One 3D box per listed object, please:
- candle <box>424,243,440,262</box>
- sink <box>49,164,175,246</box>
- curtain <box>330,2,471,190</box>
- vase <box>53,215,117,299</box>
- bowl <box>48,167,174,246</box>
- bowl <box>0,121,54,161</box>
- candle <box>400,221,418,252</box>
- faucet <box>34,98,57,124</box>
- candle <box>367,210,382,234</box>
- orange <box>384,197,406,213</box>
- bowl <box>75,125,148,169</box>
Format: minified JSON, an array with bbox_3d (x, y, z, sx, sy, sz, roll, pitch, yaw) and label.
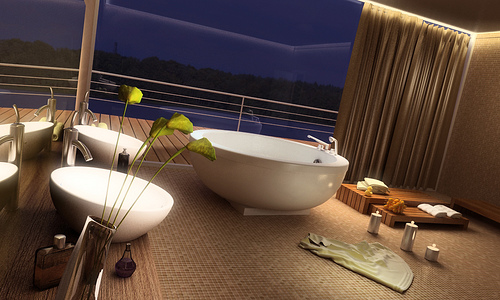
[{"bbox_3d":[2.174,1.196,3.009,0.217,0.196,0.095,7,13,-12],"label":"candle"},{"bbox_3d":[-1.064,0.357,1.916,0.767,0.281,0.772,17,-3,28],"label":"sink"},{"bbox_3d":[2.993,-0.891,5.188,2.579,3.404,0.537,6,14,-17],"label":"curtain"},{"bbox_3d":[-0.766,0.512,1.202,0.222,0.382,0.133,-2,18,-41],"label":"vase"},{"bbox_3d":[-1.055,0.283,1.955,0.769,0.279,0.780,18,2,-1],"label":"bowl"},{"bbox_3d":[-1.839,-0.091,2.220,0.121,0.346,0.385,5,13,-21],"label":"bowl"},{"bbox_3d":[1.959,1.046,3.145,0.150,0.352,0.208,20,16,35],"label":"candle"},{"bbox_3d":[-1.777,-0.335,2.238,0.082,0.234,0.283,5,13,-21],"label":"faucet"},{"bbox_3d":[1.672,0.958,3.423,0.147,0.258,0.250,17,14,28],"label":"candle"},{"bbox_3d":[2.130,0.802,3.737,0.192,0.075,0.193,15,22,38],"label":"orange"},{"bbox_3d":[-1.401,-0.024,2.576,0.653,0.226,0.651,20,-2,1],"label":"bowl"}]
